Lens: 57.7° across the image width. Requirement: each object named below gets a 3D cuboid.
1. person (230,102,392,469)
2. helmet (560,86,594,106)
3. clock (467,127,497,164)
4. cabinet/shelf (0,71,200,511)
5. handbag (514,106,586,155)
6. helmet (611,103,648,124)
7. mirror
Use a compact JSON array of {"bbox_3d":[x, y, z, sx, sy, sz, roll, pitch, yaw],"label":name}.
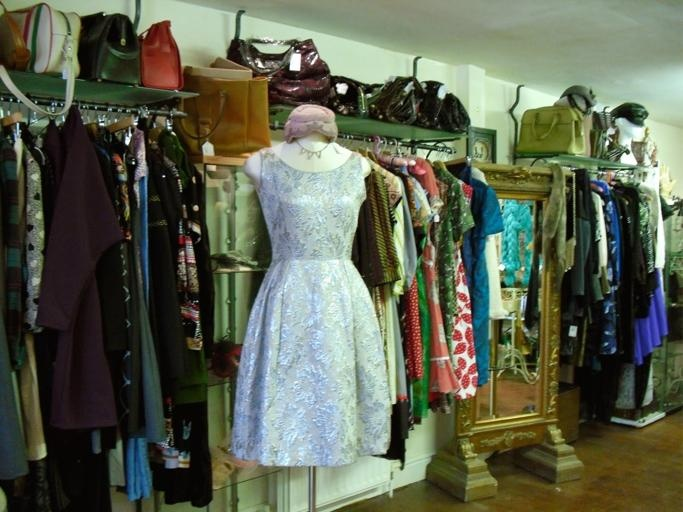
[{"bbox_3d":[-0.128,0.092,2.457,0.616,1.400,0.324,0,2,1],"label":"person"},{"bbox_3d":[1.572,-1.093,4.200,0.167,0.083,0.172,8,5,-40],"label":"helmet"},{"bbox_3d":[0.920,-0.733,4.082,0.069,0.215,0.351,1,3,38],"label":"clock"},{"bbox_3d":[-0.942,0.156,2.408,0.617,1.702,0.458,-1,2,-10],"label":"cabinet/shelf"},{"bbox_3d":[1.369,-0.767,4.131,0.395,0.319,0.336,-2,4,-25],"label":"handbag"},{"bbox_3d":[2.108,-1.052,4.614,0.189,0.137,0.223,-8,14,-30],"label":"helmet"},{"bbox_3d":[1.004,0.323,3.760,0.465,1.320,0.095,-1,2,-28],"label":"mirror"}]
